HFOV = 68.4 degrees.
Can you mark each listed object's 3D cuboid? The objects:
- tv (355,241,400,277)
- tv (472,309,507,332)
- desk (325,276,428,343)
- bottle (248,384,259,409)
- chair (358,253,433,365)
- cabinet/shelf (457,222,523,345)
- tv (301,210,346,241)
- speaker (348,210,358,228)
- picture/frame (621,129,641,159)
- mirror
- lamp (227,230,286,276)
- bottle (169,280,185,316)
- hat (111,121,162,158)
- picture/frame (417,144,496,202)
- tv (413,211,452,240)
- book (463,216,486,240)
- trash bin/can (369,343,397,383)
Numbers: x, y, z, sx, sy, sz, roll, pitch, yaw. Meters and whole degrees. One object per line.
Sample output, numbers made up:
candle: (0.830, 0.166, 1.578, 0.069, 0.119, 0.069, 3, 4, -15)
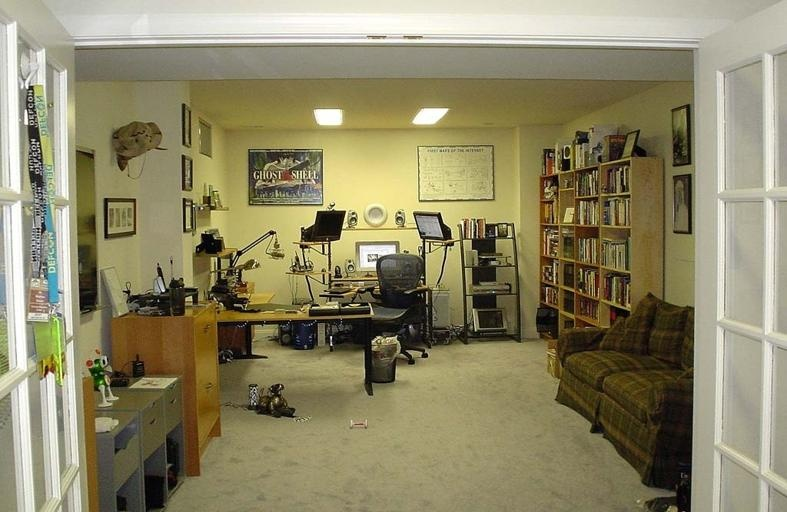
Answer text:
tv: (-0.221, 0.059, 7.680, 0.482, 0.360, 0.153, 0, -15, -3)
tv: (1.323, 0.905, 8.038, 0.549, 0.385, 0.286, 0, -23, -5)
desk: (-0.025, 0.593, 6.899, 0.991, 0.968, 0.935, -3, 7, 5)
bottle: (-1.322, 1.307, 5.442, 0.095, 0.212, 0.324, -3, 7, -15)
chair: (-0.024, 0.642, 6.857, 0.783, 1.245, 0.714, 0, 4, 31)
cabinet/shelf: (1.351, 0.334, 8.018, 0.917, 1.671, 0.852, 0, 7, 4)
tv: (-0.870, -0.361, 7.183, 0.468, 0.429, 0.422, 0, 8, -40)
speaker: (-0.576, -0.515, 8.156, 0.146, 0.236, 0.324, -1, 7, -5)
picture/frame: (2.390, -1.125, 5.843, 0.143, 0.277, 0.467, 2, 8, 21)
mirror: (-2.190, -0.184, 4.143, 0.069, 1.147, 0.539, -3, 8, -17)
lamp: (-1.735, -0.004, 7.359, 0.783, 0.465, 0.236, -11, 0, 13)
bottle: (-1.587, 0.304, 4.238, 0.142, 0.245, 0.138, 1, 5, 0)
hat: (-2.159, -0.977, 4.840, 0.413, 0.309, 0.236, -6, 9, -39)
picture/frame: (0.875, -1.181, 8.292, 1.177, 0.798, 0.054, -3, 10, -13)
tv: (0.513, -0.408, 7.601, 0.146, 0.323, 0.397, -31, 8, -26)
book: (1.127, -0.378, 8.007, 0.261, 0.323, 0.346, 1, -2, 14)
trash bin/can: (-0.214, 1.129, 6.114, 0.388, 0.368, 0.338, 0, 3, -21)
